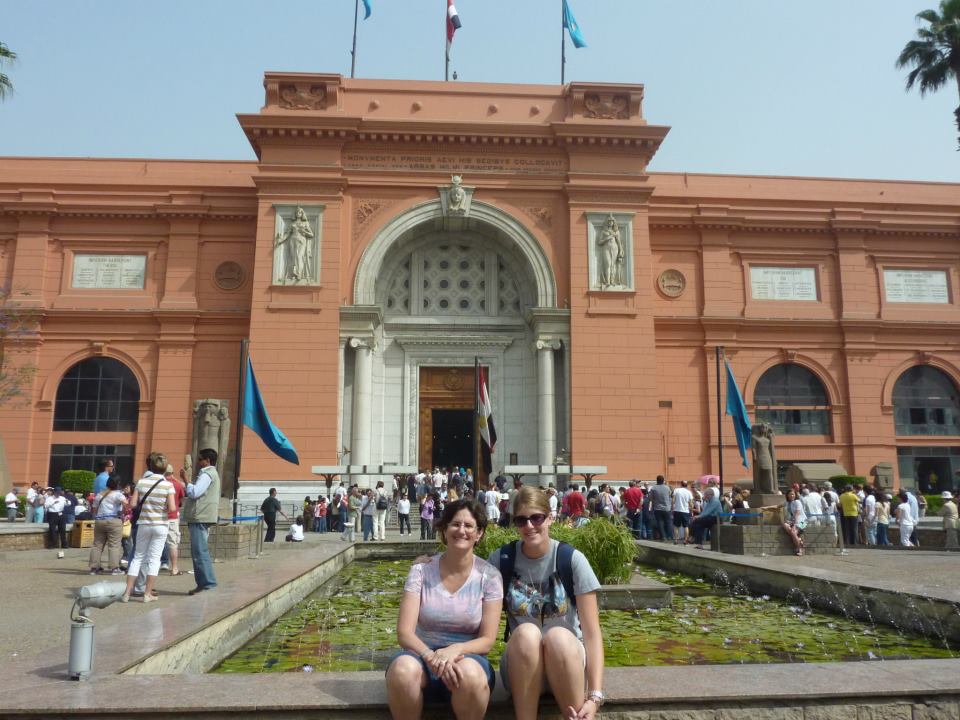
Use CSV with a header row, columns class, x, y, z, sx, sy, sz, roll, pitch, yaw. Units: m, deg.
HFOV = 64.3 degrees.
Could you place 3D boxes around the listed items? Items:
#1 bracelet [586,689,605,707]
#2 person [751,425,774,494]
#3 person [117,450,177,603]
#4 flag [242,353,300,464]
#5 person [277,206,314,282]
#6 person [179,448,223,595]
class,x,y,z,sx,sy,sz,roll,pitch,yaw
bracelet,0.870,2.549,5.809,0.097,0.067,0.124,0,-5,16
person,6.465,2.259,17.534,0.488,1.570,0.503,-4,-10,19
person,-4.480,2.217,10.491,0.597,1.953,1.511,3,-11,-22
flag,-4.775,1.111,17.428,1.167,2.283,2.173,2,-10,-15
person,-6.279,-3.981,26.235,1.163,2.703,0.404,0,-10,-6
person,-3.935,2.223,10.820,0.467,1.969,0.909,3,-10,-19
